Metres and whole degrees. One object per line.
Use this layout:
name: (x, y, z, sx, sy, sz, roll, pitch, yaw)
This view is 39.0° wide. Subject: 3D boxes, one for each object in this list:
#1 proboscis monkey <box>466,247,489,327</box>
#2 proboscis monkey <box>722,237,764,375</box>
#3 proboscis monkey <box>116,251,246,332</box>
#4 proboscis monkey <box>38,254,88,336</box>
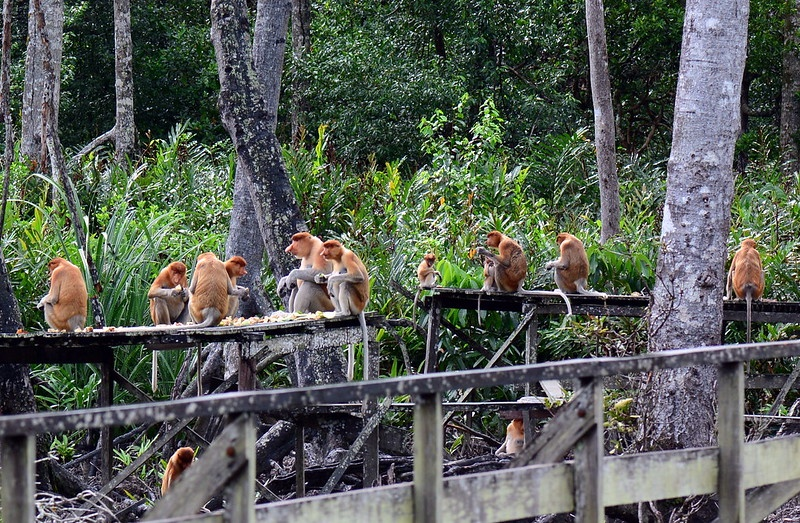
proboscis monkey: (1.160, 0.316, 15.081, 0.386, 1.081, 0.245, -8, 1, -40)
proboscis monkey: (4.440, 0.231, 14.497, 0.459, 2.550, 0.720, 0, -22, 11)
proboscis monkey: (-2.262, 0.354, 12.661, 0.640, 0.604, 1.151, 8, -16, -40)
proboscis monkey: (-3.886, 0.472, 12.936, 0.507, 1.075, 0.493, 2, -5, 8)
